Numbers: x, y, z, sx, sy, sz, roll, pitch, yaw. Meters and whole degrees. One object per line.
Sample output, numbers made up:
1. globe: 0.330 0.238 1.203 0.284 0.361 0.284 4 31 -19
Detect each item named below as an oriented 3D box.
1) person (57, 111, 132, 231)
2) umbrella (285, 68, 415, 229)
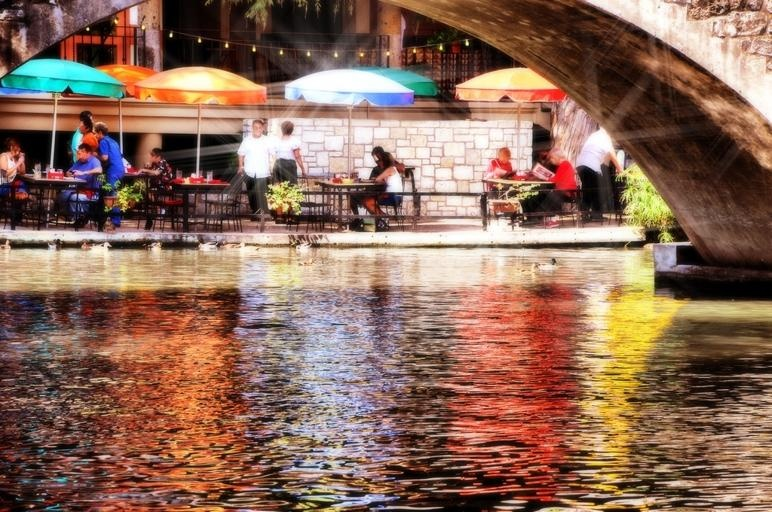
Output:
1. person: -5.802 -1.766 23.070 0.809 2.391 1.018 -1 4 2
2. umbrella: -0.631 -2.399 24.207 2.209 3.364 1.669 0 5 16
